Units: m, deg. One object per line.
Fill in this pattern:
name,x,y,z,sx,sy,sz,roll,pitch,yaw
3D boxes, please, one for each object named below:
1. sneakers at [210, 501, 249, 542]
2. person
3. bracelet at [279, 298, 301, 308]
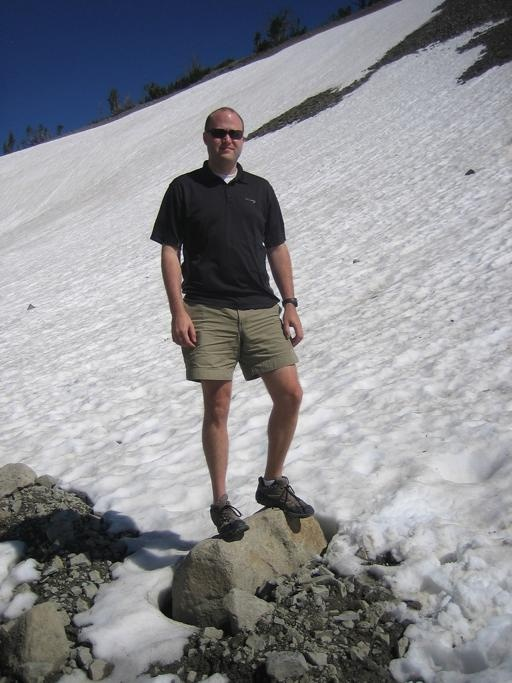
sneakers,-0.136,0.924,3.208,0.159,0.165,0.231,-17,20,-7
person,-0.108,-0.078,3.285,0.745,2.180,1.084,-14,21,5
bracelet,0.191,-0.220,3.541,0.078,0.067,0.070,-1,53,22
